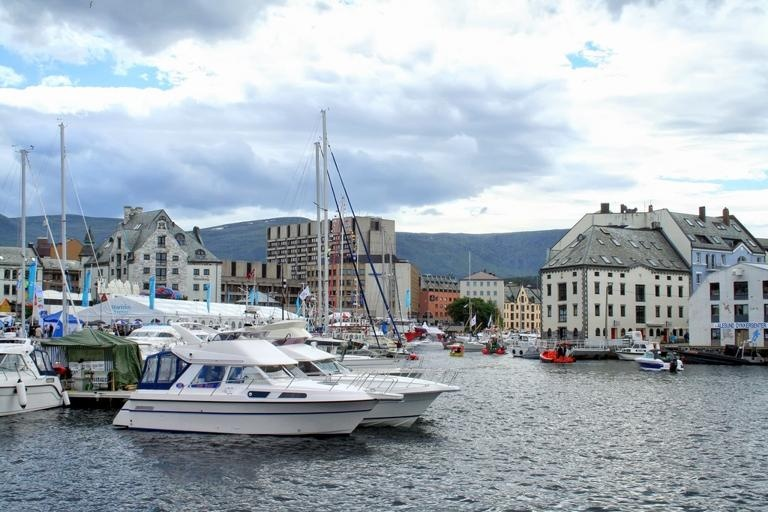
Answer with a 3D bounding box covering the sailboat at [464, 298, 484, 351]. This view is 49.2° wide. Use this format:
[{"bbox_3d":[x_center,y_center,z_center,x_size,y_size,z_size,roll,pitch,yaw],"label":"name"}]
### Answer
[{"bbox_3d":[15.997,11.651,145.878,2.158,7.551,7.532,1,8,37],"label":"sailboat"}]
